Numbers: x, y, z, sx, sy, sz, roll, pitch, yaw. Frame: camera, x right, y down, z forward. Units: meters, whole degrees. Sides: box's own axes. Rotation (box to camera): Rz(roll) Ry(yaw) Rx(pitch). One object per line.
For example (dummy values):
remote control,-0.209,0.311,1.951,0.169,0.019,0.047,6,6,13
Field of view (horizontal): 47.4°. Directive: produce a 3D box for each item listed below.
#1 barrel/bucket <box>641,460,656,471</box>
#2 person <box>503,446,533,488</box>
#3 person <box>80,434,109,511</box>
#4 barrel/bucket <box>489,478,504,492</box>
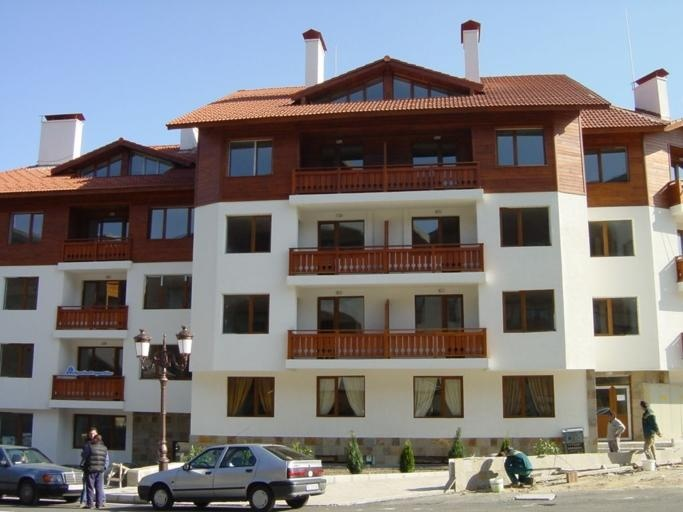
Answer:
barrel/bucket,11.921,8.109,30.221,0.544,0.409,0.404,-2,-15,1
person,6.463,7.802,28.859,1.031,1.634,1.206,1,-8,-41
person,-8.688,7.435,27.267,0.835,2.689,0.792,4,-16,-18
barrel/bucket,5.574,8.254,28.093,0.482,0.463,0.489,-2,-15,0
